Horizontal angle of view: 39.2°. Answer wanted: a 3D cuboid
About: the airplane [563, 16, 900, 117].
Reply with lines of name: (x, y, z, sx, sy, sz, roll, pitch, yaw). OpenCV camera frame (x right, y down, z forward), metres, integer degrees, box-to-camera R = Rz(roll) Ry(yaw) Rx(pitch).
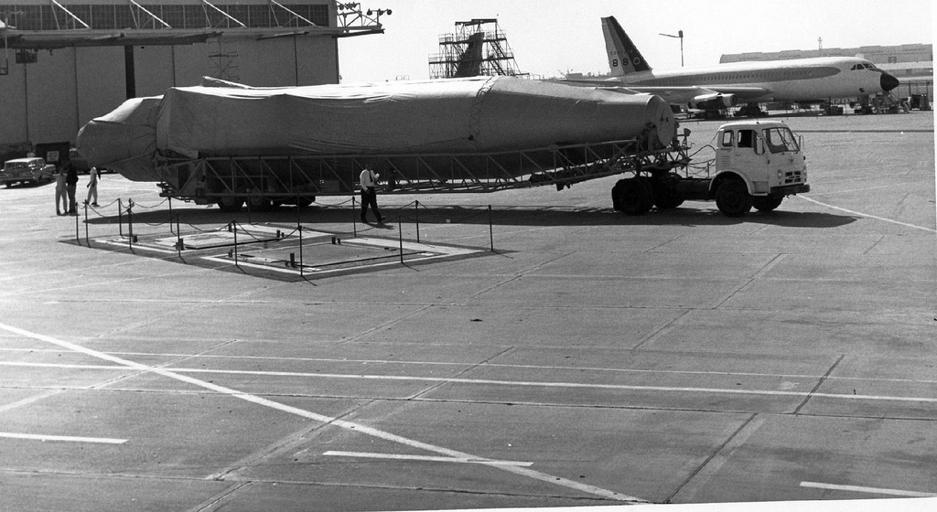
airplane: (19.904, -16.532, 115.566, 18.604, 8.438, 28.708, -9, 15, -29)

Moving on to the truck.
truck: (11.074, -3.849, 57.968, 6.302, 4.242, 4.097, 11, 19, 43)
